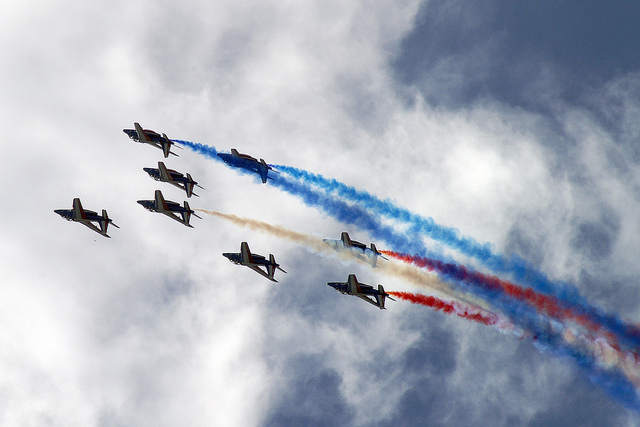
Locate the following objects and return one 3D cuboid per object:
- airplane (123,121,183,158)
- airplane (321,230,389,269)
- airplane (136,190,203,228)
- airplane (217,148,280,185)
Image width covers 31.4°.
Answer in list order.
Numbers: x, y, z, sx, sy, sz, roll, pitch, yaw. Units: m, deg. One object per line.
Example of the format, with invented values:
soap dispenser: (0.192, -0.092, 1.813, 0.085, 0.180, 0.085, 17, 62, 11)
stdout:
airplane: (-30.109, -13.633, 199.886, 9.264, 3.577, 12.016, 14, -14, 11)
airplane: (5.353, 5.995, 173.617, 5.771, 4.754, 8.327, -29, -79, 35)
airplane: (-27.363, -1.432, 198.756, 9.791, 3.896, 12.658, 11, -1, -34)
airplane: (-10.397, -7.188, 175.067, 7.651, 2.796, 7.722, 29, -12, 16)
